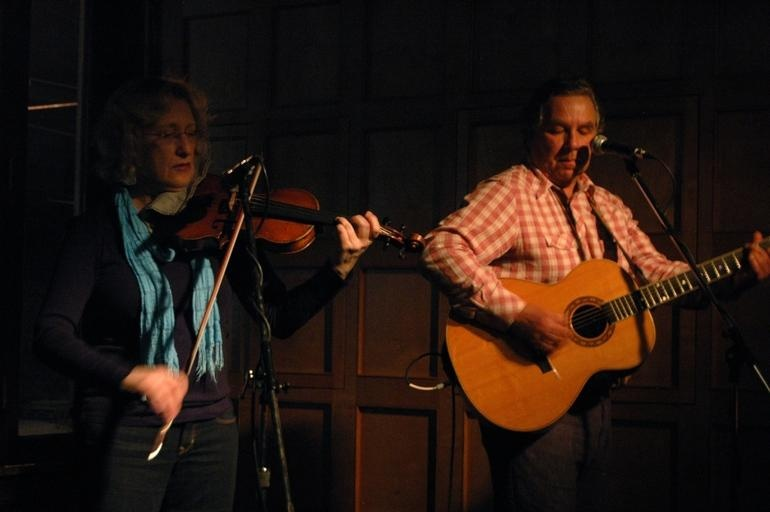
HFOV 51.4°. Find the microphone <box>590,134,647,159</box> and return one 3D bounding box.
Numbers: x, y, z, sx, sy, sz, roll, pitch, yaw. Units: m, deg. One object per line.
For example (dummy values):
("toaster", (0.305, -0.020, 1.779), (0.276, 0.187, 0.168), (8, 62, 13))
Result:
("microphone", (1.184, -0.560, 4.162), (0.328, 0.115, 0.102), (21, -39, 43))

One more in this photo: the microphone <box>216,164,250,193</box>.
("microphone", (-0.706, -0.375, 3.774), (0.177, 0.114, 0.055), (-5, -14, 41))

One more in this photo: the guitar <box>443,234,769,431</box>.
("guitar", (1.079, 0.426, 4.270), (1.952, 0.749, 0.210), (-22, -10, -11))
